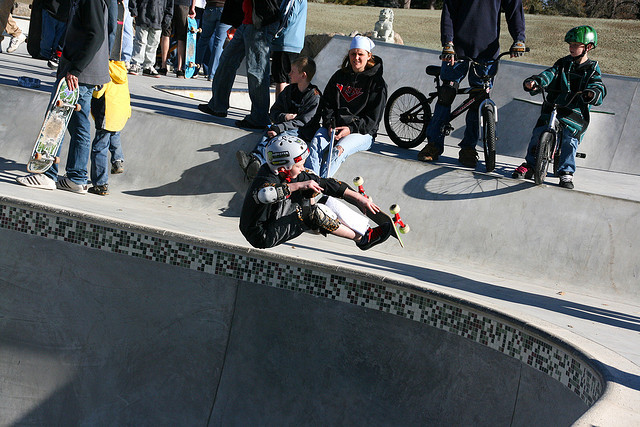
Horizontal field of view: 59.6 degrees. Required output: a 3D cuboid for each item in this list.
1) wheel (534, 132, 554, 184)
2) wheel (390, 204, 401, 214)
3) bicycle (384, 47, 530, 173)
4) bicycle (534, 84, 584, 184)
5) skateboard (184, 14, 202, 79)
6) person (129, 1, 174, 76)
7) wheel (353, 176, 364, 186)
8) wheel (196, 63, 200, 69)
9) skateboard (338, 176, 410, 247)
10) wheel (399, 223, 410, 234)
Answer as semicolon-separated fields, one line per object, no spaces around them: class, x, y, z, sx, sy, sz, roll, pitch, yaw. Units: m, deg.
wheel;2.509;-0.622;6.302;0.172;0.565;0.465;12;17;20
wheel;0.731;-0.051;5.400;0.095;0.063;0.095;-5;10;1
bicycle;1.623;-1.348;7.001;1.283;1.346;2.034;-1;19;-39
bicycle;2.616;-0.780;6.388;0.551;0.737;1.168;20;4;12
skateboard;-2.506;-3.242;10.999;0.165;1.284;0.317;6;6;26
person;-3.093;-3.232;10.300;0.777;1.392;1.328;0;17;-19
wheel;0.384;-0.317;5.520;0.111;0.075;0.115;-6;15;2
wheel;-2.550;-3.091;11.699;0.070;0.156;0.194;-3;18;-22
skateboard;0.593;-0.001;5.921;0.160;0.254;0.949;-29;61;-35
wheel;0.816;0.149;5.433;0.076;0.083;0.065;9;25;7
